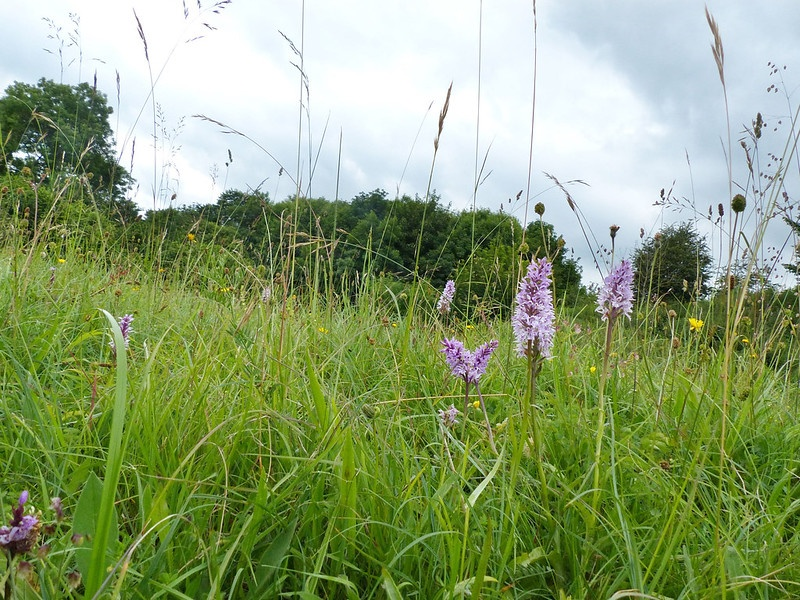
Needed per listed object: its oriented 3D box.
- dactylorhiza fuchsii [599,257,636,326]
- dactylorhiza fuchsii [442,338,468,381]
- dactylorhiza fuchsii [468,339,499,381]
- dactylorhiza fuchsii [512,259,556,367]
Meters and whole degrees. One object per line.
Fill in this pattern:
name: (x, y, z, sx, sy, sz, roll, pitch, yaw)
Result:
dactylorhiza fuchsii: (0.907, -0.038, 2.344, 0.140, 0.263, 0.248, 10, 2, 22)
dactylorhiza fuchsii: (0.262, 0.276, 2.700, 0.134, 0.185, 0.320, 9, 3, 6)
dactylorhiza fuchsii: (0.403, 0.292, 2.720, 0.108, 0.197, 0.290, 9, 2, 10)
dactylorhiza fuchsii: (0.549, 0.033, 2.269, 0.169, 0.399, 0.252, 9, 2, 13)
